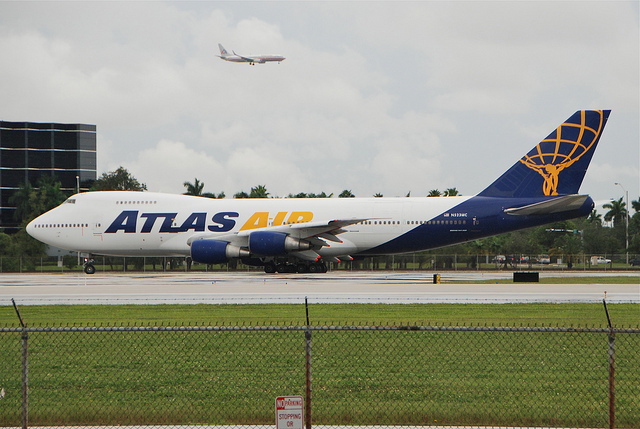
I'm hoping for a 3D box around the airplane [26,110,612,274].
[{"bbox_3d":[0.606,-1.800,83.313,39.010,11.838,4.138,1,-5,4],"label":"airplane"}]

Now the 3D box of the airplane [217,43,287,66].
[{"bbox_3d":[-6.474,-15.520,109.430,5.675,2.191,5.878,1,-5,-4],"label":"airplane"}]
